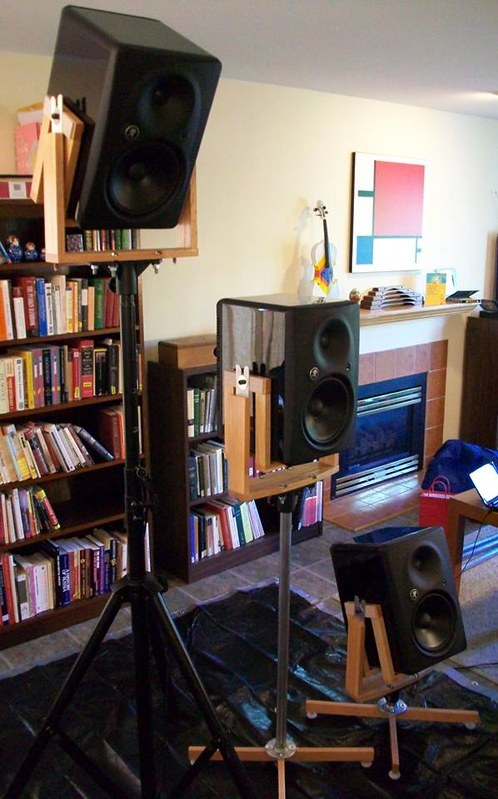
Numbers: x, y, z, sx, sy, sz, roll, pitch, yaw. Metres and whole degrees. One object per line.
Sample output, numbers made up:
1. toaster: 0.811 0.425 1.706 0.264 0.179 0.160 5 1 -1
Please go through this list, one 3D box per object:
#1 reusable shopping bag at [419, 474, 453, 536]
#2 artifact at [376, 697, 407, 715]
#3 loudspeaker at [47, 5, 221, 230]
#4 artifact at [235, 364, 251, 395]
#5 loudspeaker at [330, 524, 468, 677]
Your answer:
1. reusable shopping bag: 1.022 0.583 3.212 0.165 0.284 0.086 3 9 17
2. artifact: 0.433 0.922 1.777 0.087 0.047 0.062 3 11 17
3. loudspeaker: -0.191 -0.474 0.992 0.263 0.353 0.357 -4 11 -19
4. artifact: -0.011 -0.044 1.229 0.013 0.094 0.048 -9 14 -38
5. loudspeaker: 0.458 0.578 1.739 0.271 0.365 0.246 -7 -5 -43
